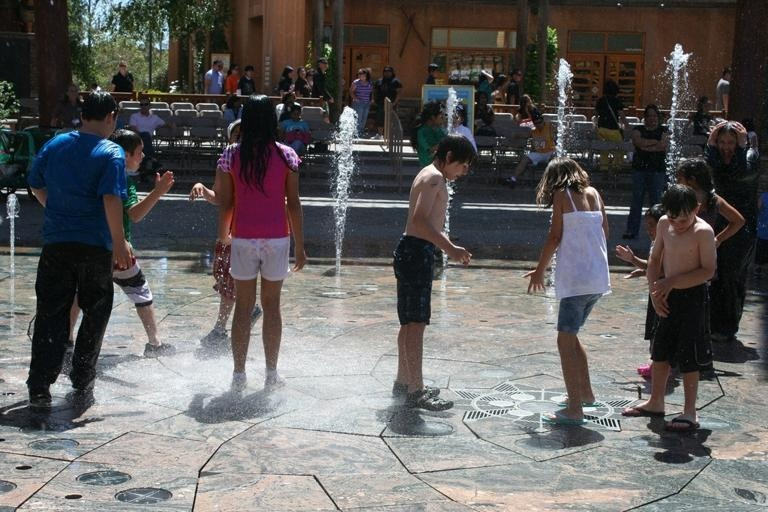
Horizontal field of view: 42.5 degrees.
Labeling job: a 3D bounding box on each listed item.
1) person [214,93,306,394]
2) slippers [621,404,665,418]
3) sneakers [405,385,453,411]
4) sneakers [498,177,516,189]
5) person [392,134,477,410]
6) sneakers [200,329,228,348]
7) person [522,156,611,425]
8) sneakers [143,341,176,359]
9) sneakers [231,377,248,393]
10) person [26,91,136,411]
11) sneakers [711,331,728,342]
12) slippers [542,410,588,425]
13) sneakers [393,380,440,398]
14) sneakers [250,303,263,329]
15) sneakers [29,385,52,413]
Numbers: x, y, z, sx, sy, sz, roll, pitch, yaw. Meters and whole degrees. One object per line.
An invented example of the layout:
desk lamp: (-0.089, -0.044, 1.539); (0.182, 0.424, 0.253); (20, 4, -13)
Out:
person: (-1.064, -0.107, 8.527); (0.724, 2.486, 0.370); (-1, 9, -9)
slippers: (2.181, 1.295, 8.348); (0.370, 0.103, 0.130); (2, -6, 0)
sneakers: (0.356, 1.186, 8.297); (0.447, 0.191, 0.167); (0, 0, 1)
sneakers: (2.589, -1.525, 20.588); (0.141, 0.154, 0.372); (2, 10, -13)
person: (0.401, 0.133, 8.311); (0.650, 2.256, 0.663); (1, 9, 1)
sneakers: (-1.619, 0.777, 9.378); (0.260, 0.150, 0.128); (2, 4, -5)
person: (1.531, 0.277, 8.189); (0.645, 2.144, 0.442); (2, 10, 11)
sneakers: (-2.108, 0.852, 9.217); (0.325, 0.137, 0.116); (-5, 12, -17)
sneakers: (-1.248, 1.098, 8.533); (0.122, 0.128, 0.127); (3, -2, 15)
person: (-2.584, -0.079, 8.248); (0.856, 2.520, 0.592); (-2, 10, -15)
sneakers: (3.405, 0.812, 10.034); (0.189, 0.069, 0.070); (3, 6, 10)
slippers: (1.498, 1.295, 8.161); (0.321, 0.119, 0.133); (2, -1, 11)
sneakers: (0.261, 1.127, 8.445); (0.452, 0.180, 0.145); (-1, 2, 7)
sneakers: (-1.223, 0.552, 9.338); (0.125, 0.142, 0.355); (-1, 22, 2)
sneakers: (-2.836, 1.153, 8.087); (0.180, 0.181, 0.203); (-2, 9, -14)
